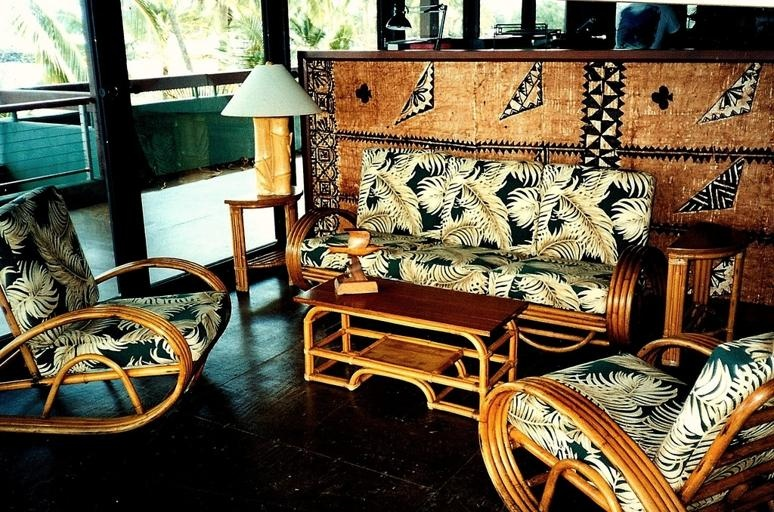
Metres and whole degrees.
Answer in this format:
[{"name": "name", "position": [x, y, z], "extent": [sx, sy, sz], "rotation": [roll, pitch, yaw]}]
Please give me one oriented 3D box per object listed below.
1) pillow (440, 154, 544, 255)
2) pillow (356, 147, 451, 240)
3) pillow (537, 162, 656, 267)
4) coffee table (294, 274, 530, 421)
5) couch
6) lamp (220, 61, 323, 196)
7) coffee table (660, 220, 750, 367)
[{"name": "pillow", "position": [0.719, -0.380, 4.090], "extent": [0.853, 0.650, 0.188], "rotation": [8, 5, 25]}, {"name": "pillow", "position": [0.110, -0.492, 4.430], "extent": [0.955, 0.667, 0.207], "rotation": [2, 0, 21]}, {"name": "pillow", "position": [1.438, -0.308, 3.864], "extent": [0.926, 0.678, 0.212], "rotation": [9, 13, 23]}, {"name": "coffee table", "position": [0.145, 0.528, 3.313], "extent": [1.299, 0.480, 0.524], "rotation": [5, 13, 33]}, {"name": "couch", "position": [0.600, -0.121, 4.119], "extent": [2.651, 0.962, 0.889], "rotation": [11, 32, 31]}, {"name": "lamp", "position": [-0.921, -1.031, 4.490], "extent": [0.546, 1.062, 0.495], "rotation": [11, 24, 26]}, {"name": "coffee table", "position": [2.052, 0.234, 3.496], "extent": [0.415, 0.606, 0.811], "rotation": [6, 15, 38]}]
